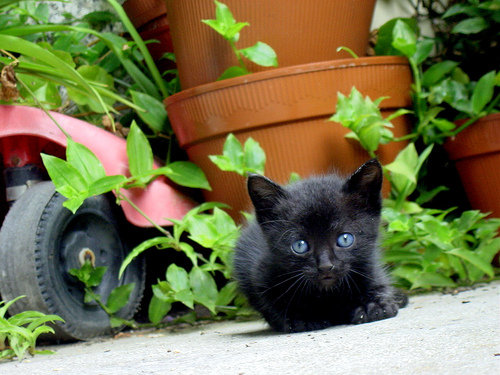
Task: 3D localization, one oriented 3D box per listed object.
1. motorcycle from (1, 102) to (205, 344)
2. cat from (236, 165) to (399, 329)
[{"bbox_3d":[-0.703,0.196,1.933,0.745,0.980,0.723,-2,1,19],"label":"motorcycle"},{"bbox_3d":[0.235,0.225,1.791,0.447,0.622,0.567,0,1,3],"label":"cat"}]
